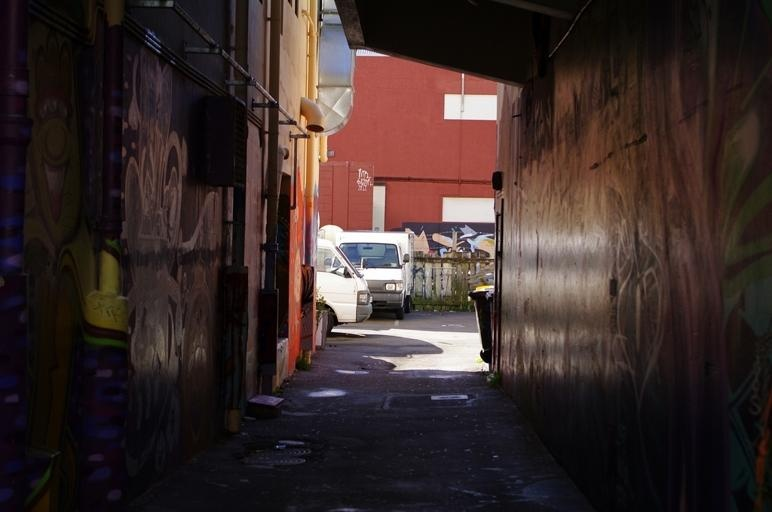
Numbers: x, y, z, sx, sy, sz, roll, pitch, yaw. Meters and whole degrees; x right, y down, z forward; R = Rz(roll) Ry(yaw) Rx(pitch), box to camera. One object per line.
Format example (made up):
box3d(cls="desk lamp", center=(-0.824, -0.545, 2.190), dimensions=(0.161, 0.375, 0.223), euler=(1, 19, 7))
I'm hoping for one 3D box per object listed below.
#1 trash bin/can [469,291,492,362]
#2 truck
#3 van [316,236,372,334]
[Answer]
box3d(cls="trash bin/can", center=(1.756, 1.279, 12.947), dimensions=(0.381, 1.121, 0.942), euler=(1, 0, -8))
box3d(cls="truck", center=(-0.268, 0.603, 24.980), dimensions=(2.183, 3.053, 5.130), euler=(-5, 0, 4))
box3d(cls="van", center=(-1.229, 0.770, 18.371), dimensions=(1.905, 1.628, 1.381), euler=(-1, 3, 2))
